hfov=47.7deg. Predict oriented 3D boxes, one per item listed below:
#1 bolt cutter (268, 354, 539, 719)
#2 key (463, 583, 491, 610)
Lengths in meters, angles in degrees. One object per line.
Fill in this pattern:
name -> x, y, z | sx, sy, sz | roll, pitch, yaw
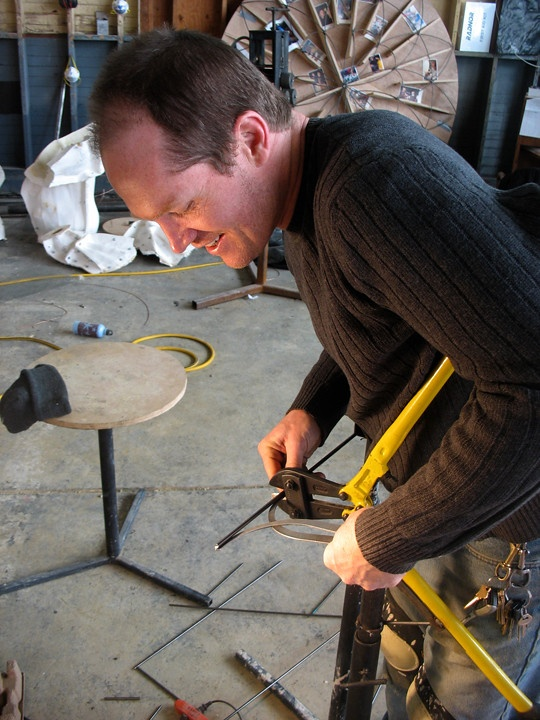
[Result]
bolt cutter -> 0.231, 0.260, 1.076 | 0.034, 0.543, 0.557 | -4, 30, -46
key -> 0.357, 0.405, 1.048 | 0.023, 0.066, 0.010 | 35, 54, 13
